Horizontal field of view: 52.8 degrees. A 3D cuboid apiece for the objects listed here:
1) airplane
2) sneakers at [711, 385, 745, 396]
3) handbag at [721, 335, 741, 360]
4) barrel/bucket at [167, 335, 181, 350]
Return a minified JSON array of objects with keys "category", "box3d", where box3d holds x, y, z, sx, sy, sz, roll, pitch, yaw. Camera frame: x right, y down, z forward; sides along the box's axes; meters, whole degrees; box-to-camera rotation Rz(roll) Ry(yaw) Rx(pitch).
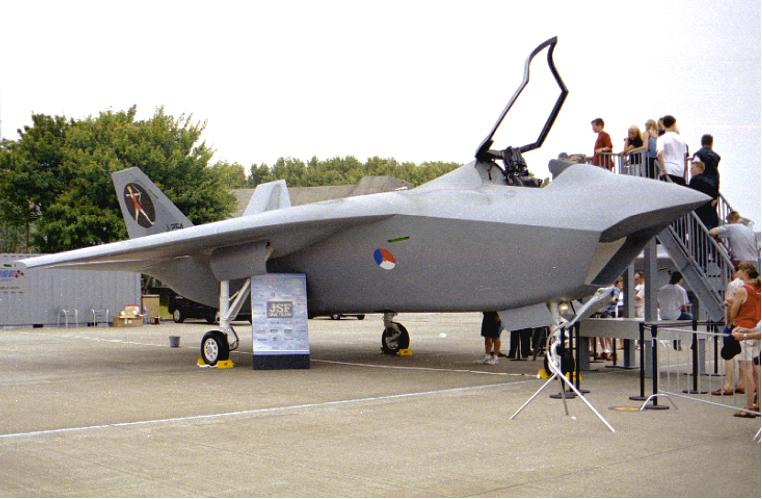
[{"category":"airplane","box3d":[0.957,-0.176,18.575,11.198,4.490,9.490,-2,-3,33]},{"category":"sneakers","box3d":[6.576,2.677,14.597,0.727,0.246,0.225,1,-13,2]},{"category":"handbag","box3d":[6.227,1.731,13.618,0.307,0.445,0.672,-2,-5,20]},{"category":"barrel/bucket","box3d":[-6.299,2.790,23.286,0.464,0.311,0.410,1,-5,8]}]
